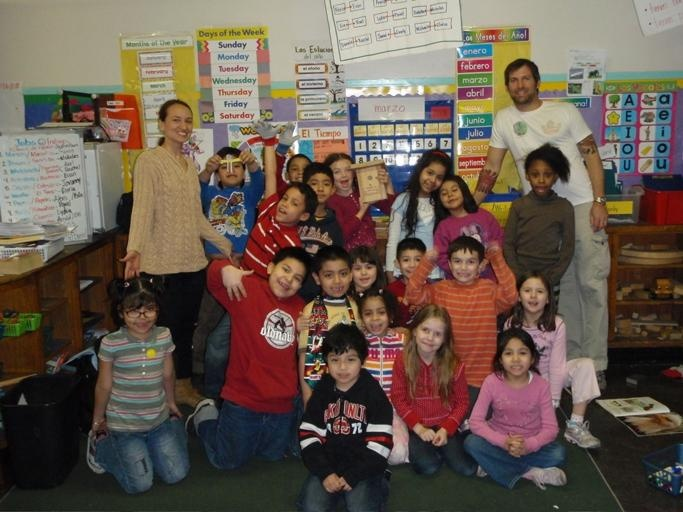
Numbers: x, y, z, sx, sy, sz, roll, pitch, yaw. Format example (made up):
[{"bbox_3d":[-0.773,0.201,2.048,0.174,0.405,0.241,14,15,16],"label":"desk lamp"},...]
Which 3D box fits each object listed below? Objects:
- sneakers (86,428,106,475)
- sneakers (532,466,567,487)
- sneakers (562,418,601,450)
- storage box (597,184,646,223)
[{"bbox_3d":[-1.346,1.060,3.077,0.079,0.204,0.168,0,-12,-24],"label":"sneakers"},{"bbox_3d":[1.075,1.138,2.960,0.178,0.076,0.077,-5,4,29],"label":"sneakers"},{"bbox_3d":[1.399,1.024,3.289,0.156,0.133,0.168,-4,10,-8],"label":"sneakers"},{"bbox_3d":[2.173,-0.375,4.430,0.370,0.251,0.223,-3,19,22],"label":"storage box"}]
